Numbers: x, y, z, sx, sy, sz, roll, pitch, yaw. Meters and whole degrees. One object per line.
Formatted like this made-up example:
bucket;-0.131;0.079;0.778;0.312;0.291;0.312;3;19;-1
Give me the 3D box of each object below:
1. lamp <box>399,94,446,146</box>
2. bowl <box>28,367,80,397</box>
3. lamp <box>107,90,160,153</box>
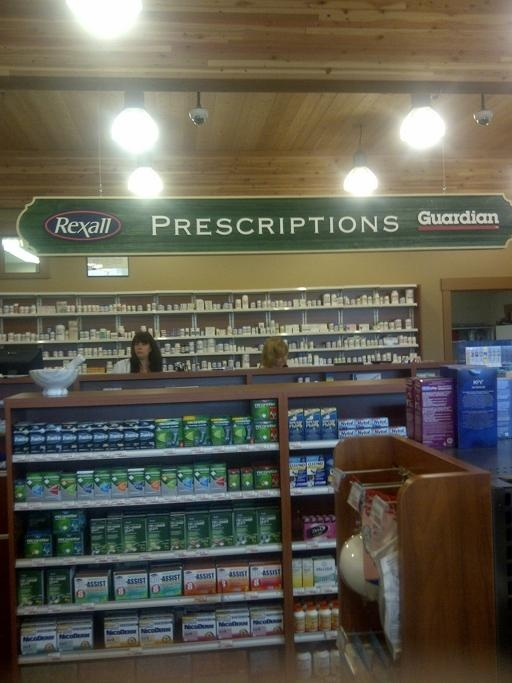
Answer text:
lamp;1.057;-1.450;3.888;0.246;0.353;0.224;-6;0;2
bowl;-0.942;0.186;2.857;0.166;0.095;0.163;1;-2;0
lamp;-0.778;-1.411;3.812;0.231;0.367;0.227;-6;0;37
